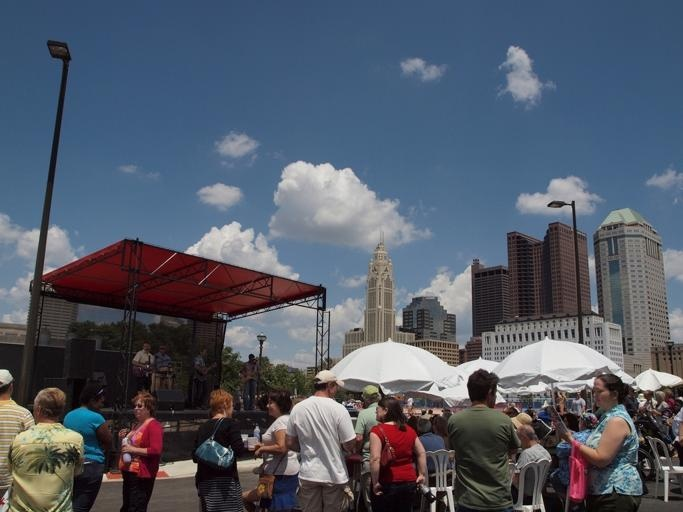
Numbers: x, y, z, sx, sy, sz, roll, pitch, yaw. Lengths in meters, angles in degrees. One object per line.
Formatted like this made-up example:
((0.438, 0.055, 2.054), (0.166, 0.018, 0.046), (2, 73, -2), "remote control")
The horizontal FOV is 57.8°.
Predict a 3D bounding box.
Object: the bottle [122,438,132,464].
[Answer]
((-3.006, 2.706, 8.550), (0.154, 0.328, 0.121), (-6, -17, 34), "bottle")

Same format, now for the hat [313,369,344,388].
((-0.199, 1.654, 8.404), (0.277, 0.222, 0.571), (-1, -15, 18), "hat")

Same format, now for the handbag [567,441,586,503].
((2.589, 2.371, 6.780), (0.202, 0.646, 0.240), (-2, -15, 20), "handbag")

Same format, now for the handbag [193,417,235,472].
((-1.645, 2.448, 8.066), (0.517, 0.632, 0.171), (7, -15, -12), "handbag")

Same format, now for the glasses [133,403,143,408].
((-2.911, 2.145, 8.816), (0.075, 0.055, 0.074), (-4, -23, 0), "glasses")

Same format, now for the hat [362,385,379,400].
((0.465, 2.243, 10.121), (0.187, 0.140, 0.267), (0, -2, 6), "hat")
